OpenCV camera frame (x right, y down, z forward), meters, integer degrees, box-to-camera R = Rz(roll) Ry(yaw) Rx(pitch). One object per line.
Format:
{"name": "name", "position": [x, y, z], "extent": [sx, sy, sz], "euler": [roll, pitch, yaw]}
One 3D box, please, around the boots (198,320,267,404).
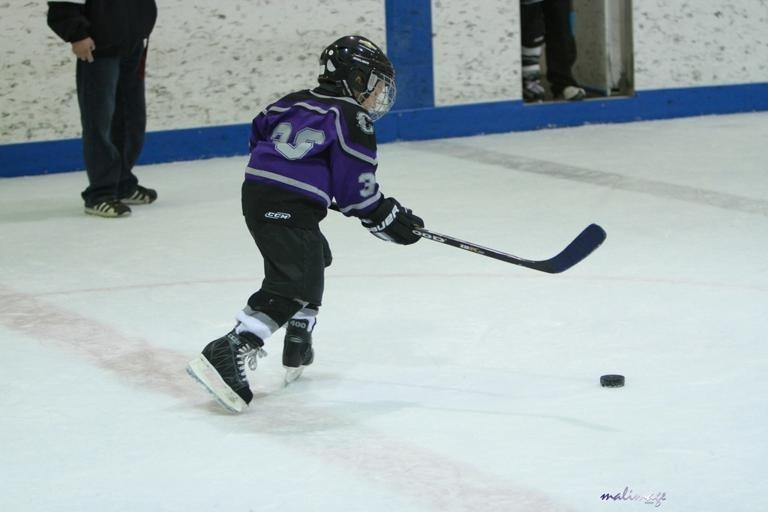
{"name": "boots", "position": [-0.429, 0.308, 2.423], "extent": [0.198, 0.210, 0.089], "euler": [0, 9, -9]}

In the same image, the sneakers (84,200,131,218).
{"name": "sneakers", "position": [-1.344, -0.226, 4.343], "extent": [0.246, 0.078, 0.089], "euler": [1, 5, 25]}

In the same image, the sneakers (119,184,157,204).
{"name": "sneakers", "position": [-1.253, -0.310, 4.597], "extent": [0.228, 0.087, 0.072], "euler": [-7, 41, -16]}

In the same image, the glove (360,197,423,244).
{"name": "glove", "position": [0.032, -0.094, 2.564], "extent": [0.176, 0.064, 0.131], "euler": [22, -44, -32]}

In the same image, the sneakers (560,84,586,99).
{"name": "sneakers", "position": [1.451, -1.255, 6.845], "extent": [0.103, 0.065, 0.179], "euler": [-5, 7, -40]}

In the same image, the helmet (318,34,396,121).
{"name": "helmet", "position": [-0.079, -0.543, 2.716], "extent": [0.318, 0.241, 0.226], "euler": [0, 6, -21]}

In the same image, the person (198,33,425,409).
{"name": "person", "position": [-0.239, -0.122, 2.555], "extent": [0.675, 1.051, 0.376], "euler": [-2, 9, -16]}
